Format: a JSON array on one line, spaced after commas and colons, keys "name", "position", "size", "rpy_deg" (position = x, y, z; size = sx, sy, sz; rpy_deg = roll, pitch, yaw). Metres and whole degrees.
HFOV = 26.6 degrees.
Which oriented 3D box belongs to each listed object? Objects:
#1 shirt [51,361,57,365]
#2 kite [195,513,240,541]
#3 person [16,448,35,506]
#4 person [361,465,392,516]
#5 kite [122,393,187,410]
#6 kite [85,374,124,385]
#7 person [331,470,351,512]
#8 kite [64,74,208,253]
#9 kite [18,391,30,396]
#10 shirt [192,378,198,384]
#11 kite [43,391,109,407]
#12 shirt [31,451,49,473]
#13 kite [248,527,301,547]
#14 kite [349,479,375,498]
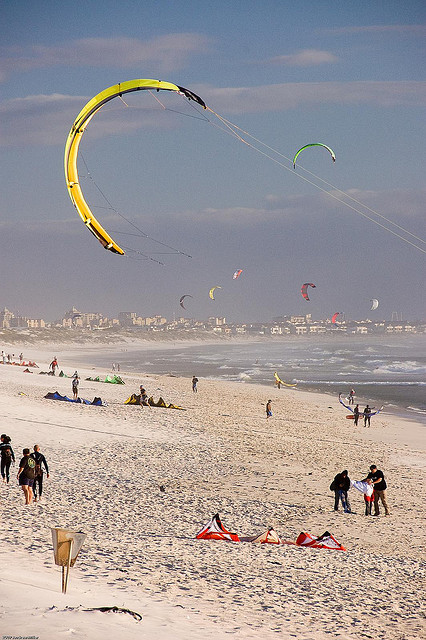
[{"name": "shirt", "position": [-8.127, 2.171, 45.730], "size": [0.179, 0.215, 0.074], "rpy_deg": [-1, 4, -15]}, {"name": "kite", "position": [0.068, 3.051, 13.387], "size": [0.656, 0.390, 0.435], "rpy_deg": [2, 0, 2]}, {"name": "person", "position": [-2.955, 2.492, 14.178], "size": [0.213, 0.855, 0.234], "rpy_deg": [3, 0, 12]}, {"name": "person", "position": [2.802, 2.945, 15.613], "size": [0.572, 0.859, 0.392], "rpy_deg": [-2, -13, 12]}, {"name": "kite", "position": [-2.117, 2.881, 31.718], "size": [1.855, 0.358, 0.391], "rpy_deg": [9, -18, -11]}, {"name": "kite", "position": [-5.538, 2.989, 45.205], "size": [2.547, 0.401, 0.333], "rpy_deg": [3, 6, 27]}, {"name": "person", "position": [2.285, 3.015, 16.034], "size": [0.368, 0.712, 0.570], "rpy_deg": [3, 0, 8]}, {"name": "kite", "position": [-1.499, -2.376, 13.860], "size": [1.548, 2.727, 0.677], "rpy_deg": [3, 0, -7]}, {"name": "kite", "position": [-5.946, 2.300, 27.879], "size": [0.194, 0.081, 0.165], "rpy_deg": [30, 12, -8]}, {"name": "shirt", "position": [-0.809, 2.644, 39.184], "size": [0.184, 0.221, 0.083], "rpy_deg": [-3, -5, -6]}, {"name": "kite", "position": [-4.288, 2.441, 27.910], "size": [2.307, 0.458, 1.556], "rpy_deg": [3, -1, -28]}, {"name": "shirt", "position": [-2.805, 2.259, 14.419], "size": [0.106, 0.285, 0.387], "rpy_deg": [-9, -12, 21]}, {"name": "kite", "position": [0.883, 3.214, 13.375], "size": [0.485, 0.121, 0.349], "rpy_deg": [3, -1, -31]}, {"name": "kite", "position": [2.597, 2.922, 15.678], "size": [0.369, 0.128, 0.222], "rpy_deg": [36, 11, 0]}]
